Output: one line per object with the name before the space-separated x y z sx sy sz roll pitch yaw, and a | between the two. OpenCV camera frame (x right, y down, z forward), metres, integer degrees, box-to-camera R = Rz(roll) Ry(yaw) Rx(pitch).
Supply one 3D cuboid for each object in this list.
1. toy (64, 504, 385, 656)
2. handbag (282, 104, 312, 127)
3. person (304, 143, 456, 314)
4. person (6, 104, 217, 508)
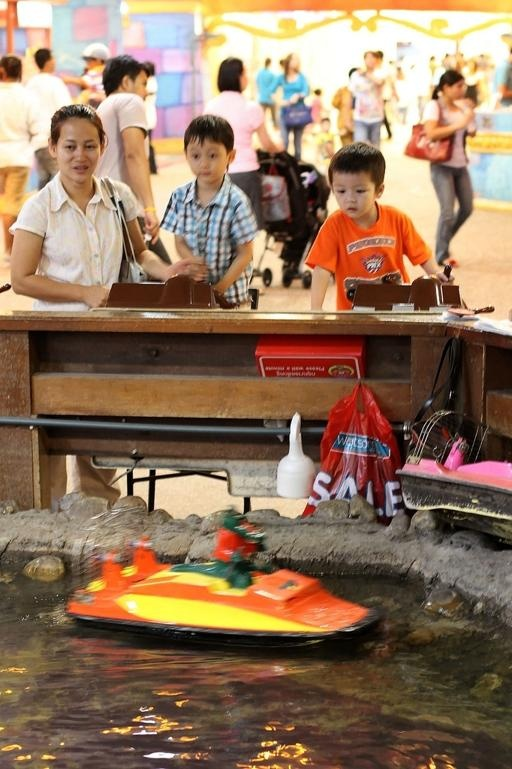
toy | -0.088 0.443 1.802 0.785 0.204 0.454 1 7 15
handbag | 0.680 -4.440 12.150 0.497 0.475 0.183 -1 -12 3
person | 0.495 -0.710 3.304 0.527 0.738 0.644 4 9 33
person | -0.697 -0.297 3.235 0.686 1.759 0.513 -8 11 -42
